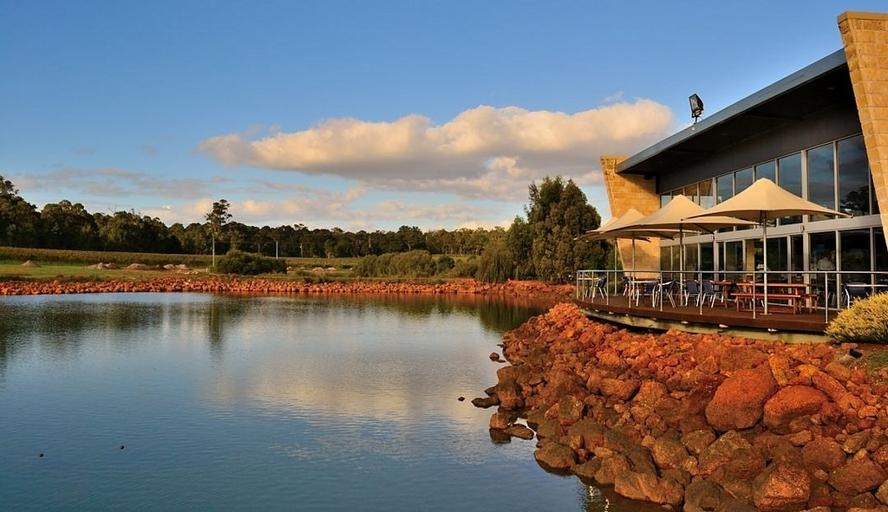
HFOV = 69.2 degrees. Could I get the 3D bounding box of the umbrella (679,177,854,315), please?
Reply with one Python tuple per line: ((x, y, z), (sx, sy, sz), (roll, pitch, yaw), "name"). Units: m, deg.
((11.993, -0.672, 23.855), (5.226, 3.854, 5.213), (1, 3, 26), "umbrella")
